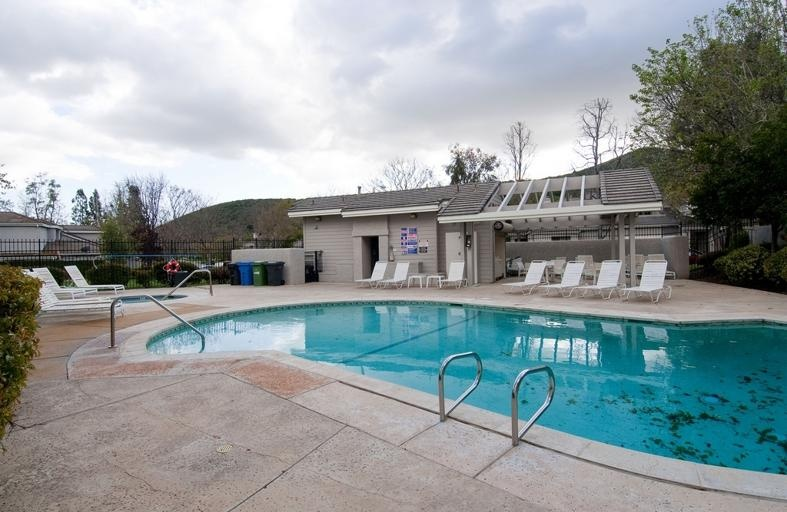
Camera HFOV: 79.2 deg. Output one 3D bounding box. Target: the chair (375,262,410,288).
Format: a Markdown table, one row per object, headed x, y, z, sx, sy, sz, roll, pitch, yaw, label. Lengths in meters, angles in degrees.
| x | y | z | sx | sy | sz | roll | pitch | yaw | label |
| --- | --- | --- | --- | --- | --- | --- | --- | --- | --- |
| 0.005 | 0.810 | 20.756 | 1.270 | 1.071 | 1.511 | -4 | 2 | -12 | chair |

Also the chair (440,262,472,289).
| x | y | z | sx | sy | sz | roll | pitch | yaw | label |
| --- | --- | --- | --- | --- | --- | --- | --- | --- | --- |
| 2.525 | 0.778 | 20.016 | 0.888 | 0.927 | 1.268 | -1 | 2 | 27 | chair |

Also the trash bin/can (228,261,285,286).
| x | y | z | sx | sy | sz | roll | pitch | yaw | label |
| --- | --- | --- | --- | --- | --- | --- | --- | --- | --- |
| -6.545 | 0.829 | 22.884 | 2.617 | 1.155 | 0.708 | -2 | 3 | 19 | trash bin/can |

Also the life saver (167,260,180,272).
| x | y | z | sx | sy | sz | roll | pitch | yaw | label |
| --- | --- | --- | --- | --- | --- | --- | --- | --- | --- |
| -10.462 | 0.469 | 22.473 | 0.528 | 0.653 | 1.388 | -4 | 2 | -27 | life saver |

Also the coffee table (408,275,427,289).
| x | y | z | sx | sy | sz | roll | pitch | yaw | label |
| --- | --- | --- | --- | --- | --- | --- | --- | --- | --- |
| 1.038 | 1.137 | 21.284 | 0.597 | 0.434 | 0.597 | -1 | -8 | 10 | coffee table |
